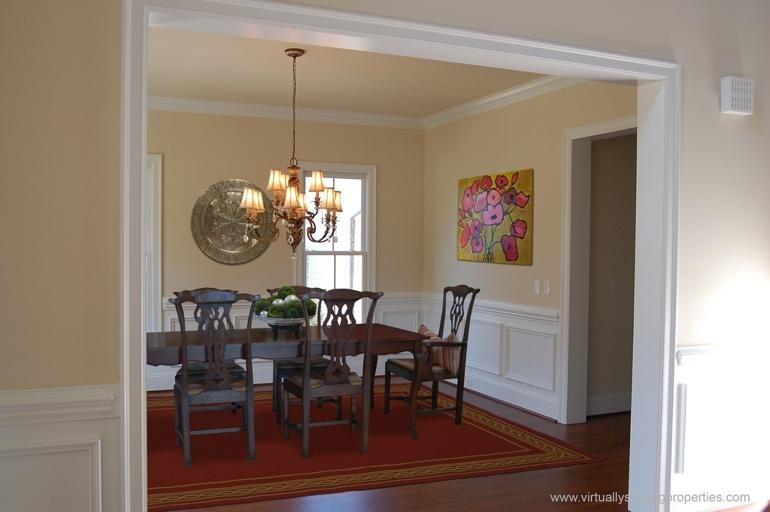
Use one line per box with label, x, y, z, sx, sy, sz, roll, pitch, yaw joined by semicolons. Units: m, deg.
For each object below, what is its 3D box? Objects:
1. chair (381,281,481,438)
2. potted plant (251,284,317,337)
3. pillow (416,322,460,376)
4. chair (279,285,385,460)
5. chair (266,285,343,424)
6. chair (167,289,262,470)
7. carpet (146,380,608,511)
chair;0.426;1.014;5.828;0.865;1.412;0.810;3;0;-36
potted plant;-0.939;0.514;5.387;0.533;0.389;0.525;-1;-8;8
pillow;0.542;0.965;5.669;0.150;0.305;0.465;18;-5;-30
chair;-0.500;1.015;5.089;0.850;1.380;0.804;1;-3;-5
chair;-0.934;1.065;5.698;0.715;1.309;0.658;1;7;18
chair;-1.476;0.999;4.864;0.765;1.452;0.706;-1;2;-3
carpet;-0.285;1.682;5.161;3.511;0.090;2.356;-2;5;-23
